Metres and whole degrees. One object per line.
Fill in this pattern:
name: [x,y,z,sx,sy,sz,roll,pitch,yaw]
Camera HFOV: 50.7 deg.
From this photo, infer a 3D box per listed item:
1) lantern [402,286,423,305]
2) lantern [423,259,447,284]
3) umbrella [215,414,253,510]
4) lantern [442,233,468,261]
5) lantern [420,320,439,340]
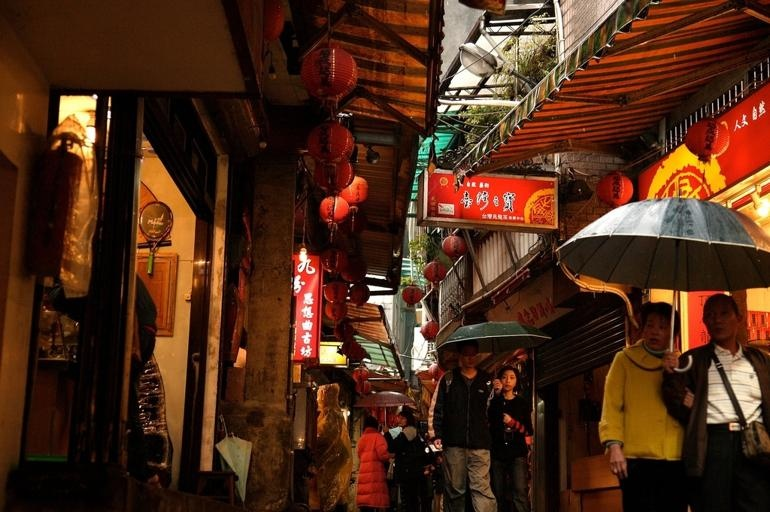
lantern: [0.670,1.081,22.364,0.513,0.591,0.524,3,-13,-11]
lantern: [1.224,0.384,20.665,0.565,0.636,0.555,-1,3,5]
umbrella: [-1.914,2.548,10.207,0.446,1.048,1.050,5,-10,-9]
lantern: [1.637,-0.220,19.078,0.562,0.616,0.542,5,-7,-23]
lantern: [1.247,2.121,23.395,0.486,0.568,0.518,1,0,5]
